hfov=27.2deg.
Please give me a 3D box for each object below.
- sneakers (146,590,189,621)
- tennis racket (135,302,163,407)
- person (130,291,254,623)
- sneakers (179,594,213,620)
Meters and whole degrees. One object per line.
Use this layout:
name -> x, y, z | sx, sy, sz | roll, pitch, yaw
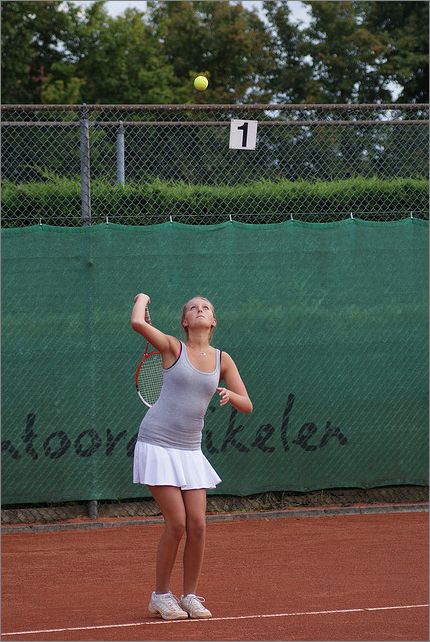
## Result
sneakers -> -0.219, 1.284, 4.017 | 0.221, 0.098, 0.086 | 1, -4, 39
tennis racket -> -0.349, 0.203, 4.694 | 0.040, 0.495, 0.207 | 5, 6, 9
person -> -0.115, 0.624, 4.056 | 0.558, 1.493, 0.387 | -1, 1, -22
sneakers -> -0.101, 1.297, 4.038 | 0.076, 0.076, 0.193 | 9, -10, -38
